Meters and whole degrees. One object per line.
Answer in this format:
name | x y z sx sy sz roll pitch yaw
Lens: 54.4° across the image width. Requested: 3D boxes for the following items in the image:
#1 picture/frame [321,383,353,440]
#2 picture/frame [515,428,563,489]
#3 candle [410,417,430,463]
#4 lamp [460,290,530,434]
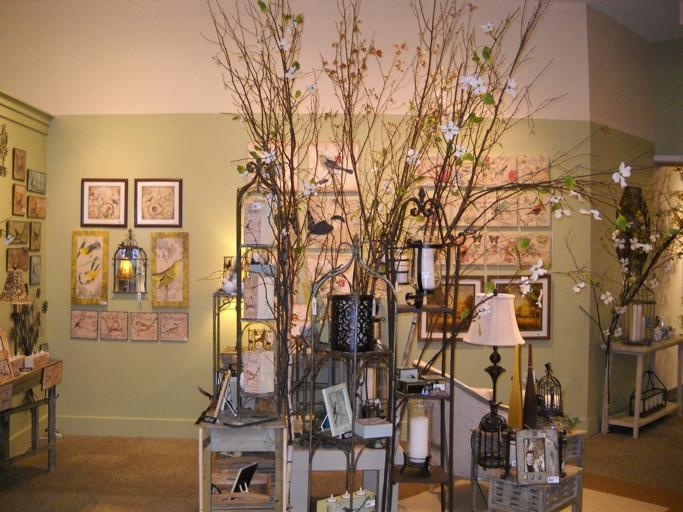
picture/frame | -0.022 1.052 4.542 0.222 0.360 0.152 2 -3 -26
picture/frame | 1.538 1.589 5.225 0.410 0.551 0.057 1 -5 -7
candle | 0.572 1.359 4.964 0.153 0.339 0.086 0 -3 2
lamp | 1.297 0.929 5.692 0.456 1.136 0.473 0 -3 12
